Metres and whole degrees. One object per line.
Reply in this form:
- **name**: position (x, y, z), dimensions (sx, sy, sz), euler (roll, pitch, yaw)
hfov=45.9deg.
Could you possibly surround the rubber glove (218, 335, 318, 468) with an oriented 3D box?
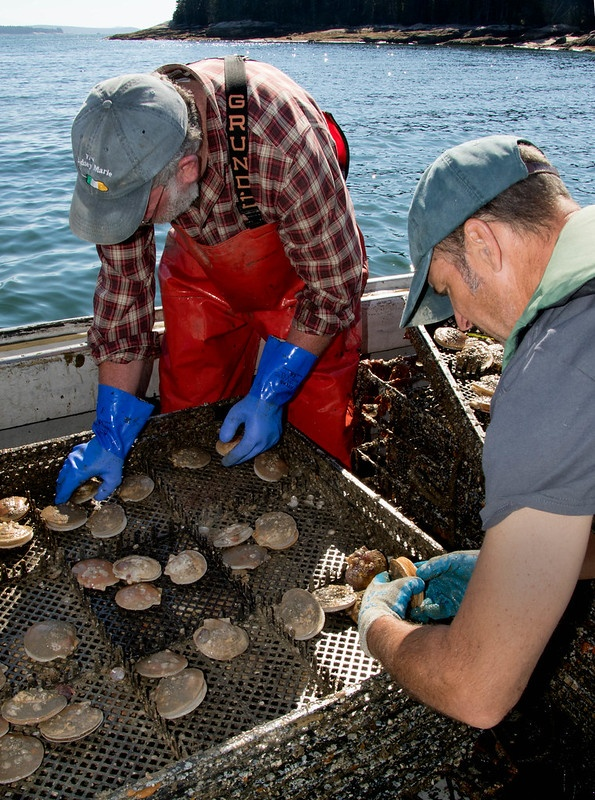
- **rubber glove**: position (-0.108, 0.003, 2.545), dimensions (0.160, 0.489, 0.331), euler (35, 3, -43)

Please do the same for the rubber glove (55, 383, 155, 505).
- **rubber glove**: position (-0.663, 0.153, 2.448), dimensions (0.271, 0.368, 0.156), euler (13, -15, 27)

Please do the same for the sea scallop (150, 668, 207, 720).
- **sea scallop**: position (-0.284, 0.700, 1.684), dimensions (0.123, 0.029, 0.118), euler (-5, 32, -18)

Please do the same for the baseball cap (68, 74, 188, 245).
- **baseball cap**: position (-0.452, -0.680, 2.043), dimensions (0.363, 0.460, 0.209), euler (19, 6, 14)

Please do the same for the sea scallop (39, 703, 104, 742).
- **sea scallop**: position (-0.521, 0.744, 1.621), dimensions (0.101, 0.037, 0.121), euler (31, 38, 35)
